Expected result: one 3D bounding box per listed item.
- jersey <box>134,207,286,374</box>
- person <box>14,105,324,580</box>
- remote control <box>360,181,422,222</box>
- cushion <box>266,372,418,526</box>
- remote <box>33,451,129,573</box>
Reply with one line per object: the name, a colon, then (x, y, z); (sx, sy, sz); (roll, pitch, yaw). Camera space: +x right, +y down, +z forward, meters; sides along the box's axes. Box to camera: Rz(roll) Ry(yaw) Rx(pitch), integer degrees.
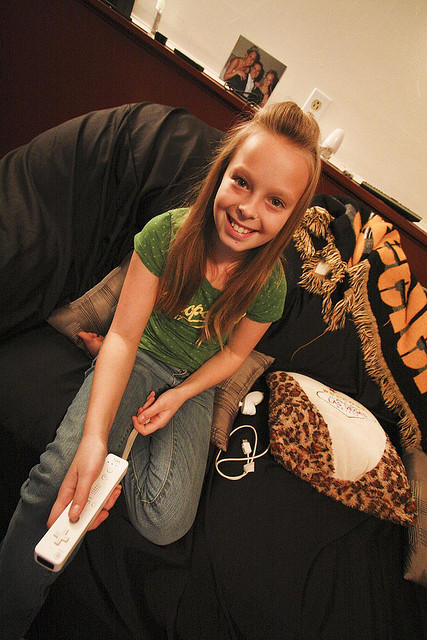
jersey: (-0.017, -0.074, 1.173); (0.312, 0.289, 0.172); (32, 2, -12)
person: (-0.130, 0.070, 1.220); (0.374, 0.689, 1.056); (22, 54, -8)
remote control: (0.624, -0.415, 1.723); (0.226, 0.037, 0.087); (41, 9, 9)
cushion: (0.310, 0.337, 1.372); (0.329, 0.122, 0.414); (16, 36, -31)
remote: (-0.235, 0.332, 0.979); (0.087, 0.047, 0.325); (23, 41, 8)
